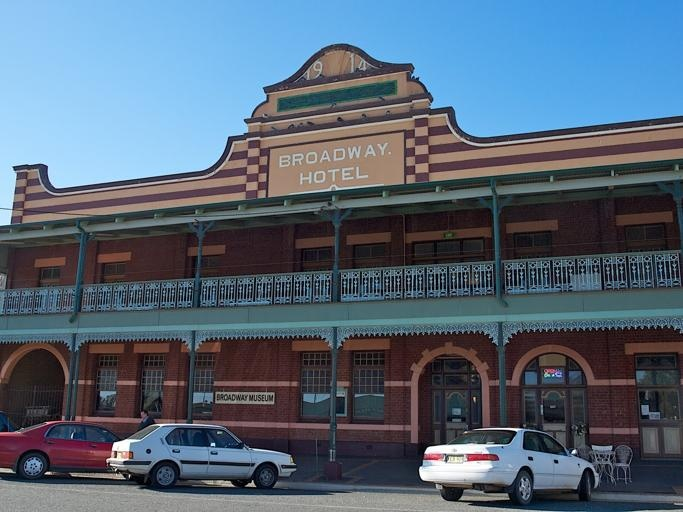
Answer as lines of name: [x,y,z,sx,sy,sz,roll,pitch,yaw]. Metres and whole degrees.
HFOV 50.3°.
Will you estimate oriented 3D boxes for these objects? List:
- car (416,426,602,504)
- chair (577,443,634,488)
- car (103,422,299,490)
car: [3.965,4.597,16.205,3.568,0.984,1.806,7,-12,-37]
chair: [6.861,5.327,18.706,1.624,0.690,1.490,-5,-14,21]
car: [-3.422,4.876,17.856,4.179,1.152,1.723,3,-11,-20]
